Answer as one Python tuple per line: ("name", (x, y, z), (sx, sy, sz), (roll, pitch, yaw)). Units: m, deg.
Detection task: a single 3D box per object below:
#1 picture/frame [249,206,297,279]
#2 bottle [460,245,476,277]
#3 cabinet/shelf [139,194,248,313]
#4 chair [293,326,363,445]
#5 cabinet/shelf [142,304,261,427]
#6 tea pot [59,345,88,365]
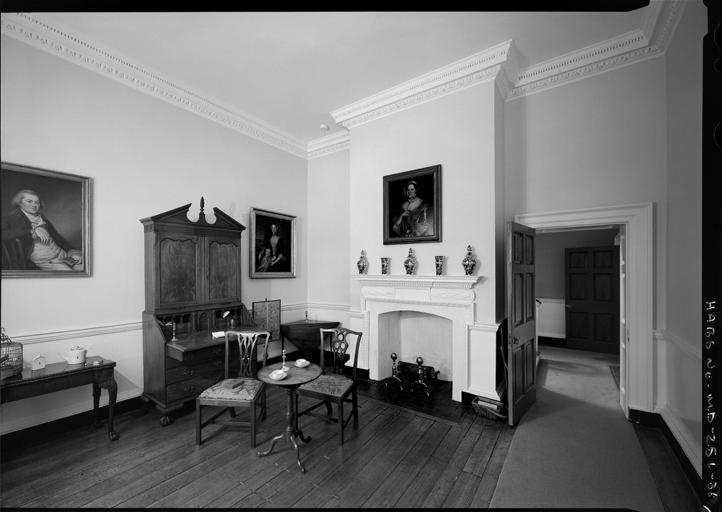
("picture/frame", (-1.675, -0.243, 8.316), (0.098, 1.508, 1.255), (-2, -4, 31))
("bottle", (1.614, 0.065, 6.649), (0.188, 0.449, 0.134), (-3, 0, 26))
("cabinet/shelf", (-2.606, -0.002, 6.817), (0.509, 2.092, 1.802), (-3, -2, 34))
("chair", (-0.394, 1.703, 6.117), (0.795, 1.369, 0.763), (4, 7, 41))
("cabinet/shelf", (-2.360, 1.534, 6.827), (0.913, 1.516, 1.530), (6, 5, 36))
("tea pot", (-3.701, 1.266, 5.809), (0.203, 0.255, 0.278), (7, 6, 23))
